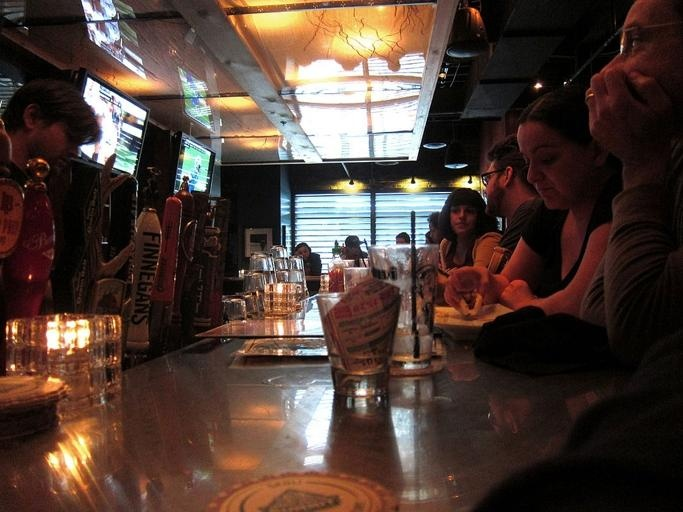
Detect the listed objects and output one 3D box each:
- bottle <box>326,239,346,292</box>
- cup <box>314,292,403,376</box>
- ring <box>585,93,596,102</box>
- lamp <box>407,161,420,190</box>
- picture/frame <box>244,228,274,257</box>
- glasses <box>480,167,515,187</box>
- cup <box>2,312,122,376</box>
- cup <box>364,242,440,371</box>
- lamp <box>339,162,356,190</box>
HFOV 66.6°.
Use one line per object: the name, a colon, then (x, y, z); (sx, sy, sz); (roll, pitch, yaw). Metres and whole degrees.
bottle: (-0.022, 0.053, 2.304); (0.069, 0.229, 0.056); (1, 2, -9)
cup: (0.045, 0.128, 0.858); (0.138, 0.118, 0.148); (-8, -8, -1)
ring: (0.509, -0.324, 1.075); (0.015, 0.018, 0.019); (-1, -4, 11)
lamp: (1.453, -1.609, 10.496); (0.162, 0.549, 0.287); (-1, 4, 6)
picture/frame: (-1.303, -0.213, 8.261); (0.533, 0.576, 0.041); (0, -22, -2)
glasses: (0.865, -0.430, 2.979); (0.217, 0.061, 0.218); (-3, 2, 12)
cup: (-0.428, 0.119, 0.820); (0.124, 0.076, 0.125); (-1, -3, 0)
cup: (0.109, 0.099, 0.981); (0.149, 0.222, 0.140); (-5, -5, 0)
lamp: (0.154, -1.634, 10.715); (0.282, 0.470, 0.266); (-1, 4, 1)
